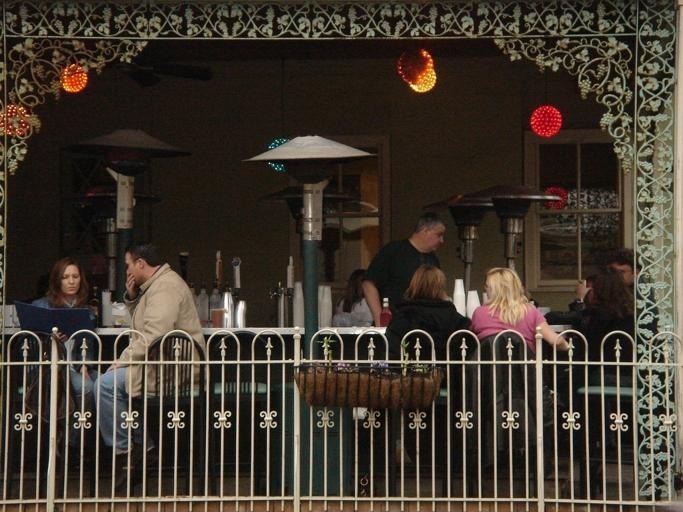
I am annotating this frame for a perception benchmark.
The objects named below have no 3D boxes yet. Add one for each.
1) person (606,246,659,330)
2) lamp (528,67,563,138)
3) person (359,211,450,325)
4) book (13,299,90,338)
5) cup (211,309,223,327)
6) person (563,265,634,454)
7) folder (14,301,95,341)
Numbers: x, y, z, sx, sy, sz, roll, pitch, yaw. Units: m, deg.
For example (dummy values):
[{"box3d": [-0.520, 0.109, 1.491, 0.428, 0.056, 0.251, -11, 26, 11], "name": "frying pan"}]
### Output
[{"box3d": [2.904, 0.257, 19.094, 0.359, 0.731, 0.336, -2, 0, 10], "name": "person"}, {"box3d": [2.198, -1.613, 20.742, 0.342, 0.965, 0.396, 1, 1, 2], "name": "lamp"}, {"box3d": [0.606, 0.047, 18.735, 0.697, 1.142, 0.602, 1, 1, -7], "name": "person"}, {"box3d": [-2.582, 0.529, 17.477, 0.691, 0.298, 0.256, 0, -6, -3], "name": "book"}, {"box3d": [-1.162, 0.543, 18.333, 0.119, 0.173, 0.062, 0, -6, 1], "name": "cup"}, {"box3d": [2.448, 0.954, 18.404, 0.700, 1.662, 0.632, -1, 2, 11], "name": "person"}, {"box3d": [-2.587, 0.539, 17.498, 0.478, 0.342, 0.535, 5, 0, -34], "name": "folder"}]
